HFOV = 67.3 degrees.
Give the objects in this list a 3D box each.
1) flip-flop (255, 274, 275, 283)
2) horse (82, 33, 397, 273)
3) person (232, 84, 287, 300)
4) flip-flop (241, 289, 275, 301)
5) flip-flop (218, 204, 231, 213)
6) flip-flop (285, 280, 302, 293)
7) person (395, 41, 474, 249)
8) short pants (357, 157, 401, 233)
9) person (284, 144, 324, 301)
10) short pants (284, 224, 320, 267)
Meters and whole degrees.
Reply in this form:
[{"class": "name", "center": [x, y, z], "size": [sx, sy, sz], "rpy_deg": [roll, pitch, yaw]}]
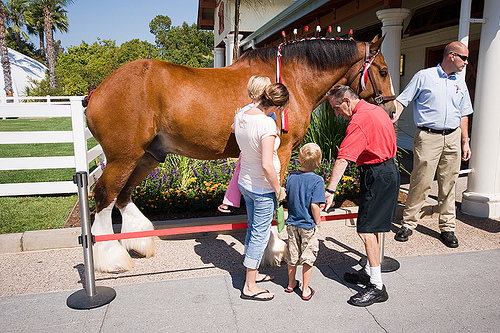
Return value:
[{"class": "flip-flop", "center": [0.199, 1.435, 4.813], "size": [0.242, 0.063, 0.141], "rpy_deg": [-12, 15, -42]}, {"class": "horse", "center": [-0.107, -0.252, 5.433], "size": [4.237, 3.322, 1.266], "rpy_deg": [1, 5, -5]}, {"class": "person", "center": [0.128, 0.314, 4.409], "size": [0.618, 2.494, 0.567], "rpy_deg": [0, 11, 7]}, {"class": "flip-flop", "center": [0.057, 1.552, 4.514], "size": [0.319, 0.084, 0.131], "rpy_deg": [1, 9, 3]}, {"class": "flip-flop", "center": [-0.334, 0.561, 4.979], "size": [0.095, 0.099, 0.212], "rpy_deg": [0, -8, 27]}, {"class": "flip-flop", "center": [0.534, 1.466, 4.640], "size": [0.083, 0.067, 0.237], "rpy_deg": [-5, 4, 41]}, {"class": "person", "center": [2.790, -0.343, 5.669], "size": [1.150, 2.932, 0.587], "rpy_deg": [0, 11, 7]}, {"class": "short pants", "center": [1.525, 0.344, 4.472], "size": [0.515, 0.888, 0.304], "rpy_deg": [-1, 11, 1]}, {"class": "person", "center": [0.643, 0.652, 4.445], "size": [0.438, 1.836, 0.333], "rpy_deg": [0, 11, 8]}, {"class": "short pants", "center": [0.611, 0.871, 4.546], "size": [0.447, 0.641, 0.370], "rpy_deg": [0, 8, 17]}]
